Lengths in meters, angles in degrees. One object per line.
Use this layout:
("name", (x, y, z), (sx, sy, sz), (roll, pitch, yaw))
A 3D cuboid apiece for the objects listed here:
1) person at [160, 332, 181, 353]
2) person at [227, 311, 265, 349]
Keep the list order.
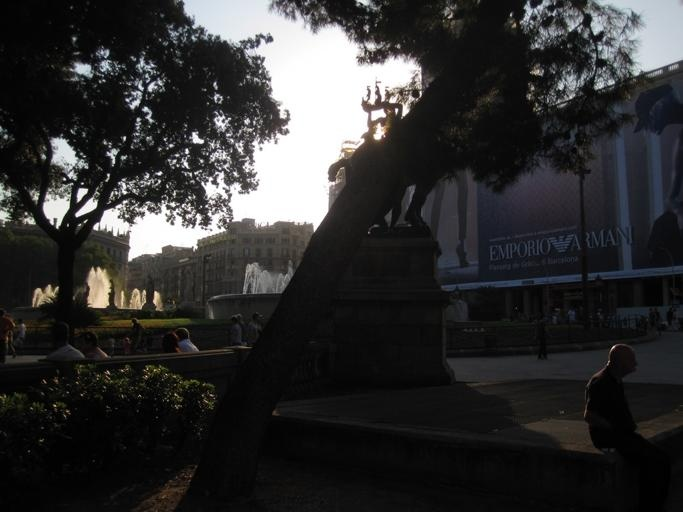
("person", (-2.997, 1.515, 11.284), (0.287, 0.342, 0.751), (0, -6, -16))
("person", (-3.049, 2.299, 20.105), (0.916, 1.047, 2.206), (0, -6, -10))
